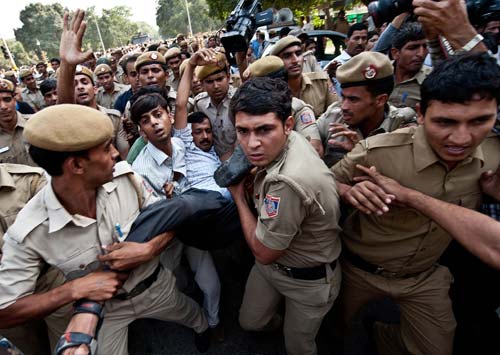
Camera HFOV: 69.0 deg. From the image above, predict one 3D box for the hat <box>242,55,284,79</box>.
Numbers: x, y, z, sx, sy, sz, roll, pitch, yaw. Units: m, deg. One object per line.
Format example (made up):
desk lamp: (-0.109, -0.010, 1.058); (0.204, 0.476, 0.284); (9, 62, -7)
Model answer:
hat: (0.154, -1.113, 3.685); (0.419, 0.205, 0.322); (-11, 27, 2)

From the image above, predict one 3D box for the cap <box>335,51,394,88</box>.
cap: (1.072, -0.999, 3.413); (0.546, 0.289, 0.425); (-9, 14, 9)

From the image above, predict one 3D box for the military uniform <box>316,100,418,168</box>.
military uniform: (1.073, -0.484, 3.574); (0.770, 0.821, 0.607); (-1, 4, 6)

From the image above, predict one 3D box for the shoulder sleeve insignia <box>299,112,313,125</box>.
shoulder sleeve insignia: (0.560, -0.590, 3.682); (0.158, 0.033, 0.199); (-2, 43, 1)

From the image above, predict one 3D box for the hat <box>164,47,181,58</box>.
hat: (-1.476, -2.346, 6.864); (0.301, 0.111, 0.260); (-20, 29, -8)

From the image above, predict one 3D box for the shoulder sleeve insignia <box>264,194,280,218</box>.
shoulder sleeve insignia: (0.171, 0.219, 2.761); (0.039, 0.182, 0.184); (-2, 2, -33)

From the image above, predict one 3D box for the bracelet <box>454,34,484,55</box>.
bracelet: (1.752, -1.080, 2.958); (0.172, 0.124, 0.317); (9, 24, 44)

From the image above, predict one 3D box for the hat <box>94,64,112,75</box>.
hat: (-2.635, -1.926, 6.555); (0.213, 0.116, 0.291); (6, 17, 35)

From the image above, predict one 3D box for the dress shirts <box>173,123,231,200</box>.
dress shirts: (-0.528, -0.167, 3.839); (0.594, 0.302, 0.764); (14, 31, -25)

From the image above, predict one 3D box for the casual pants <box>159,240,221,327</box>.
casual pants: (-0.608, 1.066, 3.633); (0.379, 1.149, 0.313); (-32, 54, -13)

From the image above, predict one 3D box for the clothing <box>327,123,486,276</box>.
clothing: (1.244, 0.186, 2.912); (1.152, 1.136, 0.606); (7, 40, -14)
